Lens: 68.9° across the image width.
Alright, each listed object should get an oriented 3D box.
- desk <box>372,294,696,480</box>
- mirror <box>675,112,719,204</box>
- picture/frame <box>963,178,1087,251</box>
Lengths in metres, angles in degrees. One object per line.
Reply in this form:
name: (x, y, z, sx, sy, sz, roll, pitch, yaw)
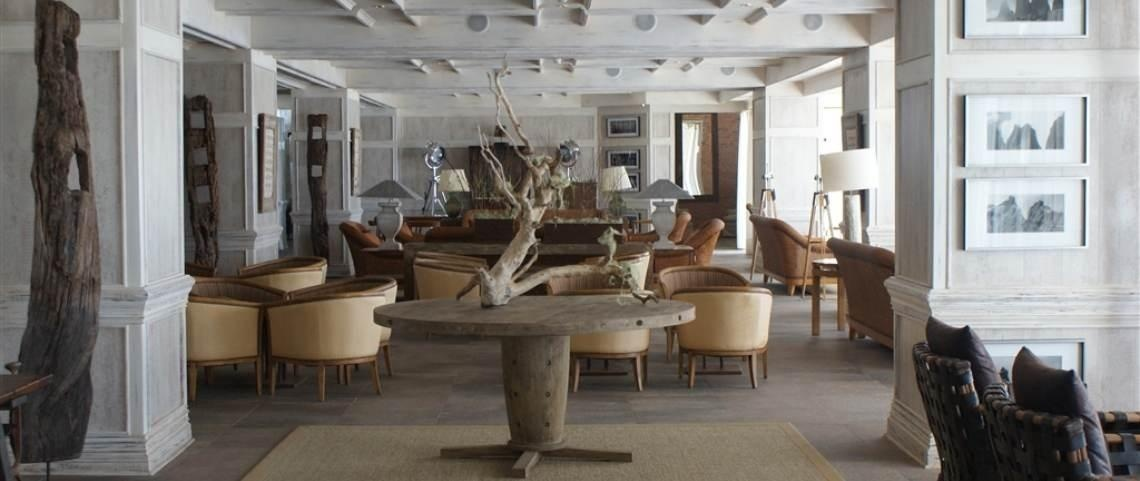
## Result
desk: (-0.404, 1.391, 10.068, 3.292, 1.294, 2.344, 0, 6, 0)
mirror: (3.620, -2.355, 23.079, 1.020, 2.373, 0.240, -1, 4, -11)
picture/frame: (5.137, -0.341, 9.365, 1.076, 0.499, 0.067, -1, 7, 1)
